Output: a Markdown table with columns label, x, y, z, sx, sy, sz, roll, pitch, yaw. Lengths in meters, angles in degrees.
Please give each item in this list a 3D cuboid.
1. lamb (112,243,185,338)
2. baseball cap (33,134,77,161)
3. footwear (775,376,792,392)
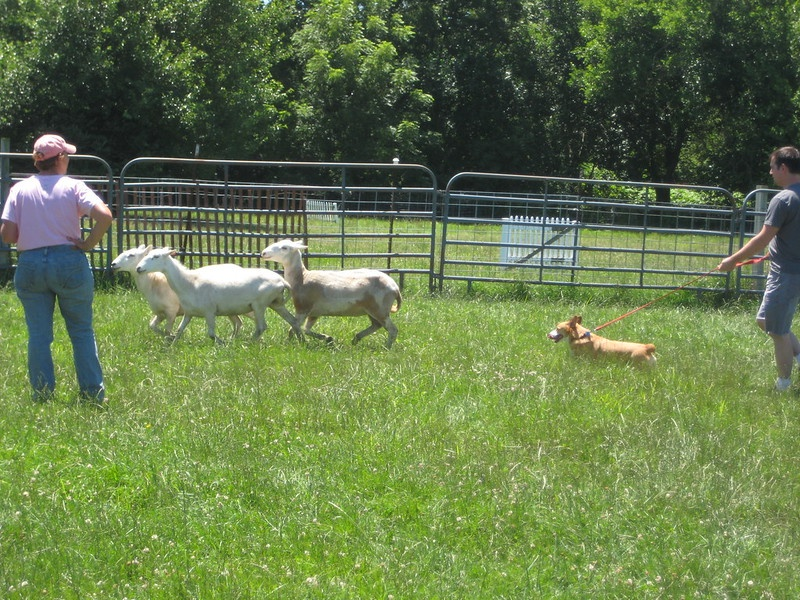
| label | x | y | z | sx | sy | sz | roll | pitch | yaw |
| --- | --- | --- | --- | --- | --- | --- | --- | --- | --- |
| lamb | -3.508 | -0.095 | 17.325 | 0.588 | 1.461 | 1.843 | -3 | -1 | 39 |
| baseball cap | -4.394 | -1.925 | 14.399 | 0.497 | 0.294 | 0.356 | -20 | 27 | -41 |
| footwear | 5.219 | 1.138 | 15.389 | 0.217 | 0.245 | 0.141 | 1 | -1 | 18 |
